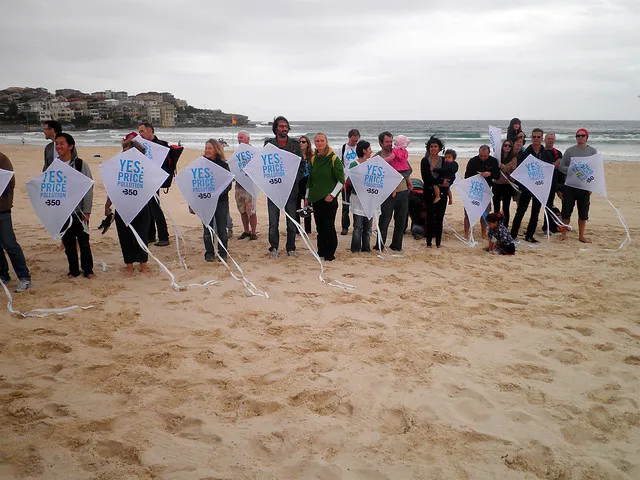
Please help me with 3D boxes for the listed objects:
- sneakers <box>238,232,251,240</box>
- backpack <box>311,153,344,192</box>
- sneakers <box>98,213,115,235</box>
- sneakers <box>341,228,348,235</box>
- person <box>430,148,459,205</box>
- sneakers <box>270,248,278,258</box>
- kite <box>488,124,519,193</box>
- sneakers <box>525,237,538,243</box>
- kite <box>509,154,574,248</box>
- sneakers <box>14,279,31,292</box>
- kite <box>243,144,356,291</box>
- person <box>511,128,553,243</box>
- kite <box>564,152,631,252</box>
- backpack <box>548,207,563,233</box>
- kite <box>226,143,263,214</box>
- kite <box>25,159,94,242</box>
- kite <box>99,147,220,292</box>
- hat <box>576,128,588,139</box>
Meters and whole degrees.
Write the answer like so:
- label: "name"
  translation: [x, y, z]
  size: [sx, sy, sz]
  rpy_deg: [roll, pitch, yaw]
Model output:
- label: "sneakers"
  translation: [-1.468, -0.074, 10.037]
  size: [0.240, 0.107, 0.092]
  rpy_deg: [-5, 7, -10]
- label: "backpack"
  translation: [0.080, -1.063, 8.511]
  size: [0.517, 0.557, 0.303]
  rpy_deg: [3, -6, 11]
- label: "sneakers"
  translation: [-3.806, -0.265, 9.389]
  size: [0.123, 0.424, 0.159]
  rpy_deg: [36, 24, 22]
- label: "sneakers"
  translation: [0.450, -0.176, 10.547]
  size: [0.120, 0.171, 0.417]
  rpy_deg: [-1, -1, 10]
- label: "person"
  translation: [2.193, -1.056, 9.388]
  size: [0.367, 0.982, 0.799]
  rpy_deg: [7, 16, 28]
- label: "sneakers"
  translation: [-0.793, 0.211, 8.800]
  size: [0.098, 0.036, 0.150]
  rpy_deg: [2, 43, -4]
- label: "kite"
  translation: [3.356, -1.520, 9.989]
  size: [0.220, 1.165, 0.575]
  rpy_deg: [-16, -4, -41]
- label: "sneakers"
  translation: [3.949, -0.005, 9.970]
  size: [0.181, 0.081, 0.101]
  rpy_deg: [0, 28, 8]
- label: "kite"
  translation: [3.836, -1.069, 9.469]
  size: [0.780, 0.844, 0.715]
  rpy_deg: [-21, 9, -27]
- label: "sneakers"
  translation: [-4.144, 0.624, 7.362]
  size: [0.099, 0.133, 0.276]
  rpy_deg: [3, 4, -21]
- label: "kite"
  translation: [-0.592, -0.666, 8.391]
  size: [0.992, 3.103, 0.428]
  rpy_deg: [-17, -19, -39]
- label: "person"
  translation: [3.987, -0.977, 9.975]
  size: [0.596, 1.795, 0.561]
  rpy_deg: [8, 3, 15]
- label: "kite"
  translation: [5.024, -0.641, 9.880]
  size: [0.959, 1.914, 0.305]
  rpy_deg: [-19, 6, 15]
- label: "backpack"
  translation: [4.572, -0.364, 10.390]
  size: [0.241, 0.523, 0.338]
  rpy_deg: [-7, 20, -3]
- label: "kite"
  translation: [-1.291, -1.173, 9.628]
  size: [0.760, 1.000, 0.222]
  rpy_deg: [-13, 3, 31]
- label: "kite"
  translation: [-3.740, -0.588, 7.563]
  size: [0.916, 1.058, 0.371]
  rpy_deg: [1, 14, 7]
- label: "kite"
  translation: [-2.387, -0.027, 7.909]
  size: [1.066, 2.634, 0.374]
  rpy_deg: [-29, 20, -6]
- label: "hat"
  translation: [4.744, -1.972, 9.717]
  size: [0.194, 0.235, 0.256]
  rpy_deg: [5, -7, 25]
